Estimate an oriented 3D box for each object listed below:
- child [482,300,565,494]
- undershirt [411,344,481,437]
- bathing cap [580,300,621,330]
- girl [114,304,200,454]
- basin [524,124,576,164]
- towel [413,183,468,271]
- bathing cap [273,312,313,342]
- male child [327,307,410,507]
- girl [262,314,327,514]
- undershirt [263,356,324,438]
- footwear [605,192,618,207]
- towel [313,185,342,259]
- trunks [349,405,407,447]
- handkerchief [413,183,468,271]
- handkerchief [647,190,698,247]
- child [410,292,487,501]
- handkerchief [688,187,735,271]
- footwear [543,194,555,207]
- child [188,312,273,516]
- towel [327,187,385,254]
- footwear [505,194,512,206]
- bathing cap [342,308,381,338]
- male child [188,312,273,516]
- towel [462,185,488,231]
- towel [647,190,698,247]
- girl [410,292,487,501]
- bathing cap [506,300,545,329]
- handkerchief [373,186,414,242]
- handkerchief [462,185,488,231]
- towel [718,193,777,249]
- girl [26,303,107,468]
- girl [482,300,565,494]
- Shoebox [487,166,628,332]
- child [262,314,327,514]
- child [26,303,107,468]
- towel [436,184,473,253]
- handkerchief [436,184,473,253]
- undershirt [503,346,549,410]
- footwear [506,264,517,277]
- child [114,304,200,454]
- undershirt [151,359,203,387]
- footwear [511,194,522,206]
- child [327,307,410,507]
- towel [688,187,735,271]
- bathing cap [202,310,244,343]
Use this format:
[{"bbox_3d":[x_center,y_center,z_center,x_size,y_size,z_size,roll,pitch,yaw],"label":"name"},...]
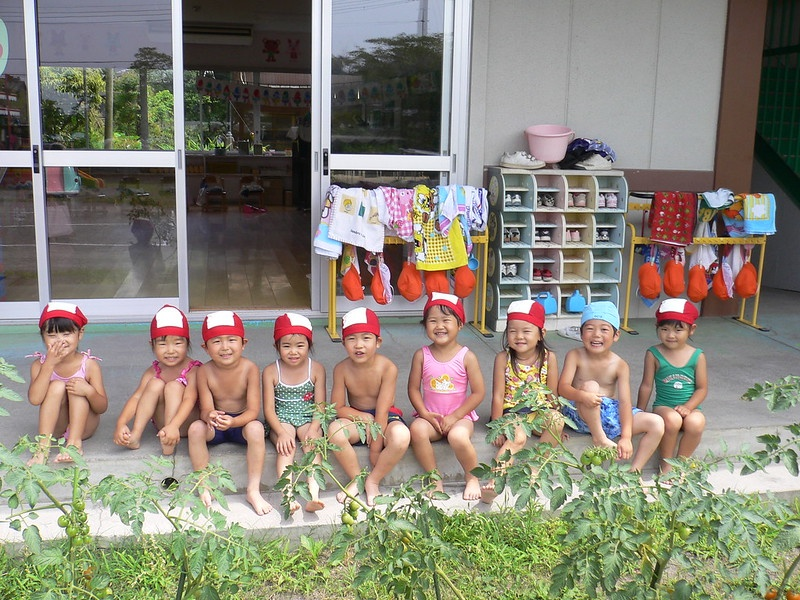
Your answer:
[{"bbox_3d":[0.609,0.407,3.436,0.398,0.709,0.992,-2,35,4],"label":"child"},{"bbox_3d":[0.236,0.447,3.682,0.345,0.392,0.204,2,16,7],"label":"undershirt"},{"bbox_3d":[1.069,0.099,3.674,0.156,0.115,0.159,11,-1,-14],"label":"bathing cap"},{"bbox_3d":[-1.190,0.390,3.466,0.411,0.693,0.381,1,10,9],"label":"girl"},{"bbox_3d":[1.202,-1.240,5.580,0.331,0.210,0.331,-2,13,0],"label":"basin"},{"bbox_3d":[0.307,-0.544,5.225,0.568,0.810,0.086,-3,4,-10],"label":"towel"},{"bbox_3d":[-0.520,0.119,3.436,0.144,0.100,0.149,0,5,-3],"label":"bathing cap"},{"bbox_3d":[-0.143,0.522,3.291,0.393,0.881,1.063,-2,10,-5],"label":"male child"},{"bbox_3d":[-0.492,0.549,3.231,0.309,0.639,0.947,2,44,-16],"label":"girl"},{"bbox_3d":[-0.536,0.473,3.515,0.223,0.323,0.175,-2,12,-18],"label":"undershirt"},{"bbox_3d":[1.724,-0.802,5.667,0.121,0.121,0.078,-1,9,-1],"label":"footwear"},{"bbox_3d":[-0.498,-0.607,5.231,0.245,0.538,0.212,10,31,-2],"label":"towel"},{"bbox_3d":[-0.106,0.588,3.229,0.225,0.099,0.225,-2,20,3],"label":"trunks"},{"bbox_3d":[0.307,-0.544,5.225,0.568,0.810,0.086,-3,4,-10],"label":"handkerchief"},{"bbox_3d":[2.203,-0.654,5.591,0.337,0.438,0.154,8,0,35],"label":"handkerchief"},{"bbox_3d":[0.237,0.464,3.526,0.382,0.960,0.567,-1,10,0],"label":"child"},{"bbox_3d":[2.549,-0.522,5.733,0.367,0.657,0.235,-2,6,-35],"label":"handkerchief"},{"bbox_3d":[1.217,-0.806,5.685,0.081,0.097,0.107,-5,12,-20],"label":"footwear"},{"bbox_3d":[-0.831,0.522,3.333,0.369,0.879,0.503,-4,10,-15],"label":"child"},{"bbox_3d":[-0.325,-0.604,5.233,0.415,0.457,0.130,1,8,-4],"label":"towel"},{"bbox_3d":[0.871,-0.805,5.565,0.050,0.105,0.092,1,10,9],"label":"footwear"},{"bbox_3d":[-0.187,0.109,3.470,0.144,0.120,0.148,1,12,3],"label":"bathing cap"},{"bbox_3d":[-0.830,0.520,3.338,0.373,0.877,0.512,-4,10,-16],"label":"male child"},{"bbox_3d":[0.580,-0.702,5.278,0.098,0.282,0.273,2,5,37],"label":"towel"},{"bbox_3d":[2.207,-0.656,5.585,0.337,0.438,0.154,8,0,35],"label":"towel"},{"bbox_3d":[0.237,0.463,3.527,0.382,0.960,0.565,-1,10,0],"label":"girl"},{"bbox_3d":[0.662,0.076,3.631,0.168,0.158,0.231,2,10,17],"label":"bathing cap"},{"bbox_3d":[-0.026,-0.643,5.259,0.325,0.346,0.102,1,-2,-11],"label":"handkerchief"},{"bbox_3d":[0.579,-0.698,5.278,0.098,0.282,0.273,2,5,37],"label":"handkerchief"},{"bbox_3d":[2.842,-0.684,5.691,0.396,0.347,0.362,4,11,25],"label":"towel"},{"bbox_3d":[-1.622,0.372,3.393,0.337,0.691,0.343,-7,11,-29],"label":"girl"},{"bbox_3d":[0.609,0.425,3.372,0.380,0.692,0.918,1,12,5],"label":"girl"},{"bbox_3d":[1.200,-0.428,5.450,1.177,1.453,0.536,-3,10,-13],"label":"Shoebox"},{"bbox_3d":[-0.492,0.549,3.231,0.309,0.639,0.947,2,44,-16],"label":"child"},{"bbox_3d":[-1.622,0.372,3.393,0.337,0.691,0.343,-7,11,-29],"label":"child"},{"bbox_3d":[0.415,-0.599,5.228,0.264,0.493,0.102,-6,11,-25],"label":"towel"},{"bbox_3d":[0.415,-0.599,5.228,0.264,0.493,0.102,-6,11,-25],"label":"handkerchief"},{"bbox_3d":[0.670,0.417,3.682,0.270,0.359,0.193,-5,9,-1],"label":"undershirt"},{"bbox_3d":[0.916,-0.233,5.631,0.062,0.050,0.107,-1,19,2],"label":"footwear"},{"bbox_3d":[-1.203,0.391,3.462,0.422,0.693,0.390,-2,10,-4],"label":"child"},{"bbox_3d":[-1.119,0.358,3.476,0.198,0.200,0.126,-9,36,-13],"label":"undershirt"},{"bbox_3d":[0.938,-0.802,5.591,0.067,0.093,0.076,0,10,5],"label":"footwear"},{"bbox_3d":[-0.142,0.523,3.287,0.393,0.881,1.071,-2,10,-5],"label":"child"},{"bbox_3d":[2.560,-0.523,5.712,0.360,0.627,0.221,5,-9,-39],"label":"towel"},{"bbox_3d":[-0.870,0.130,3.421,0.182,0.135,0.188,-5,10,-20],"label":"bathing cap"}]
